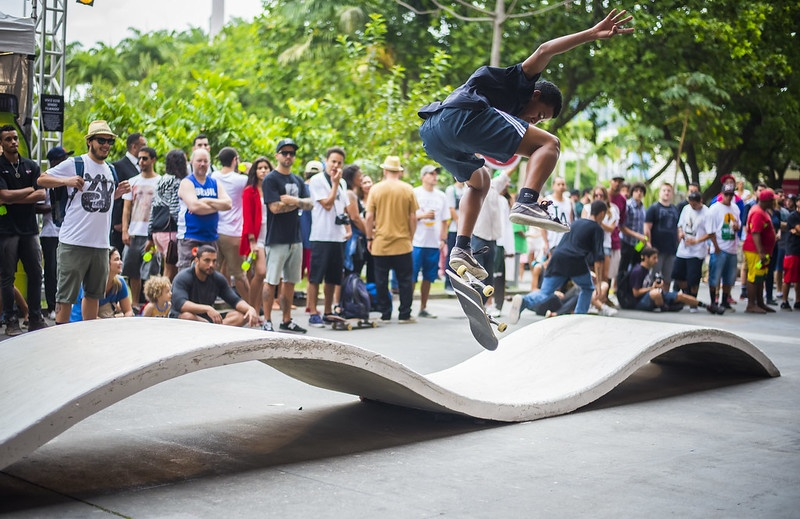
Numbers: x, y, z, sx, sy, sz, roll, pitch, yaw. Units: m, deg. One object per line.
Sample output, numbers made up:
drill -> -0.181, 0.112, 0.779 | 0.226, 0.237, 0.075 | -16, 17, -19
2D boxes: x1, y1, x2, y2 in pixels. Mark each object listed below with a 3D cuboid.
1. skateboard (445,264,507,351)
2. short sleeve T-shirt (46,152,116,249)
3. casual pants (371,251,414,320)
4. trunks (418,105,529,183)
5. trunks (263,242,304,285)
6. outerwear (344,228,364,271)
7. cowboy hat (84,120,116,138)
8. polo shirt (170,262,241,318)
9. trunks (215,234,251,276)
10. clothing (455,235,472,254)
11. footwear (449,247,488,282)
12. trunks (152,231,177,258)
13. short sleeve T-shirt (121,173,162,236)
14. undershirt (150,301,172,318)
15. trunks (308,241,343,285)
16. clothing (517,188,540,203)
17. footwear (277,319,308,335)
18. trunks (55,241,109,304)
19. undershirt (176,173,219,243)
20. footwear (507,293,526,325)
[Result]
skateboard -> 0.925, 0.511, 9.879 | 0.439, 1.091, 0.521 | -20, -10, -42
short sleeve T-shirt -> -4.228, -0.792, 11.613 | 0.543, 1.251, 1.087 | 5, 4, 38
casual pants -> -0.103, 0.368, 14.371 | 0.608, 1.422, 0.428 | -3, -23, 0
trunks -> 0.765, -1.323, 9.092 | 0.643, 0.288, 0.935 | 24, -21, -12
trunks -> -1.782, -0.017, 13.073 | 0.604, 0.798, 0.393 | 3, 1, -34
outerwear -> -0.813, -0.196, 14.446 | 0.305, 0.825, 0.364 | -8, 44, -20
cowboy hat -> -4.115, -1.792, 11.578 | 0.356, 0.217, 0.268 | 3, -2, -9
polo shirt -> -2.821, 0.429, 11.927 | 0.890, 0.639, 0.743 | 12, -23, -35
trunks -> -2.695, -0.024, 13.684 | 0.519, 0.923, 0.695 | 3, -3, -12
clothing -> 0.747, -0.179, 9.826 | 0.198, 0.128, 0.202 | 15, 39, 13
footwear -> 0.837, -0.002, 9.915 | 0.323, 0.265, 0.615 | -7, -21, 43
trunks -> -3.709, -0.291, 13.378 | 0.380, 0.703, 0.442 | -1, 8, -19
short sleeve T-shirt -> -4.091, -0.858, 13.443 | 0.881, 1.054, 0.360 | 7, 1, -11
undershirt -> -3.367, 0.691, 11.855 | 0.201, 0.269, 0.148 | 2, 4, -30
trunks -> -1.143, 0.059, 13.679 | 0.605, 0.792, 0.447 | 12, -25, -22
clothing -> 1.391, -0.680, 9.155 | 0.176, 0.182, 0.167 | 11, -9, 31
footwear -> -1.654, 1.032, 12.877 | 0.499, 0.224, 0.172 | 4, 3, -16
trunks -> -4.249, 0.152, 11.320 | 0.476, 0.886, 0.649 | -12, -16, 35
undershirt -> -3.000, -0.789, 12.899 | 0.613, 1.053, 0.692 | -1, 2, 41
footwear -> 1.859, 0.812, 13.710 | 0.219, 0.532, 0.222 | 13, 0, 31
